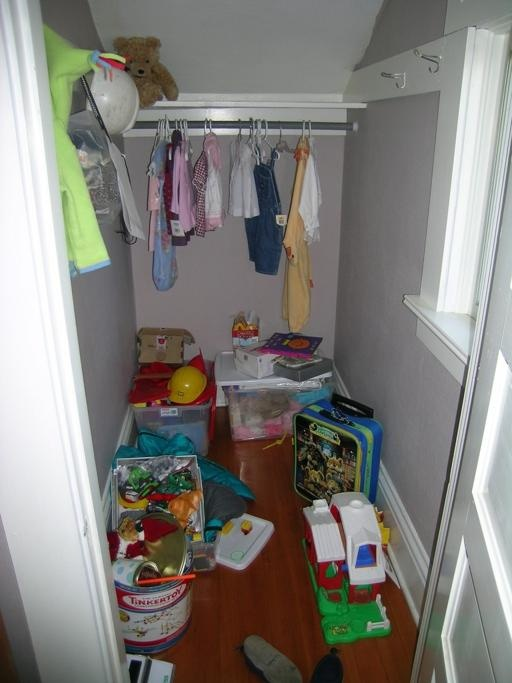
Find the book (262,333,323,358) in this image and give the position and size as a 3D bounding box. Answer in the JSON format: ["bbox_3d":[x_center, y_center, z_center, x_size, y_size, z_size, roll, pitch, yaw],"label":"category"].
[{"bbox_3d":[0.201,0.056,2.754,0.338,0.134,0.311,1,22,8],"label":"book"}]

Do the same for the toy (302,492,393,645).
[{"bbox_3d":[0.276,0.872,1.726,0.274,0.386,0.603,-5,44,-2],"label":"toy"}]

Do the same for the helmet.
[{"bbox_3d":[-0.429,-0.733,1.446,0.093,0.167,0.211,-3,21,-3],"label":"helmet"}]

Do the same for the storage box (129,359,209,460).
[{"bbox_3d":[-0.431,0.367,2.646,0.334,0.359,0.496,0,11,-2],"label":"storage box"}]

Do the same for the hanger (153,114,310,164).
[{"bbox_3d":[-0.111,-0.976,2.284,0.752,0.200,0.481,1,22,8],"label":"hanger"}]
